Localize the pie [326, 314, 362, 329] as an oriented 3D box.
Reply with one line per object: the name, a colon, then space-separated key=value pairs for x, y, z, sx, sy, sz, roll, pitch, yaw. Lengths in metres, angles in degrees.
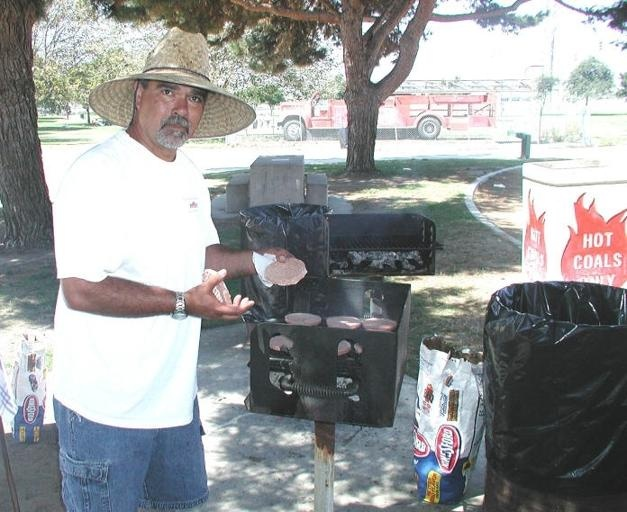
pie: x=0.178 y=0.415 z=4.082 sx=0.220 sy=0.044 sz=0.363 roll=1 pitch=6 yaw=-14

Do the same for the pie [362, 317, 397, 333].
pie: x=0.414 y=0.427 z=3.997 sx=0.226 sy=0.049 sz=0.258 roll=1 pitch=6 yaw=-15

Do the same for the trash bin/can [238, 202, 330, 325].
trash bin/can: x=-0.198 y=0.016 z=5.434 sx=0.977 sy=1.249 sz=0.788 roll=-1 pitch=4 yaw=-9

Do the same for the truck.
truck: x=4.085 y=-7.107 z=32.746 sx=10.398 sy=2.721 sz=1.451 roll=3 pitch=6 yaw=5

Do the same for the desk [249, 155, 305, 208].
desk: x=-0.628 y=-1.392 z=12.051 sx=1.061 sy=1.235 sz=1.192 roll=1 pitch=8 yaw=8

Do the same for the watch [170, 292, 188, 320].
watch: x=-0.591 y=0.222 z=2.869 sx=0.063 sy=0.117 sz=0.110 roll=-1 pitch=3 yaw=-7

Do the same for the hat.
hat: x=-0.706 y=-0.916 z=3.478 sx=0.707 sy=0.417 sz=0.738 roll=14 pitch=-13 yaw=-21
